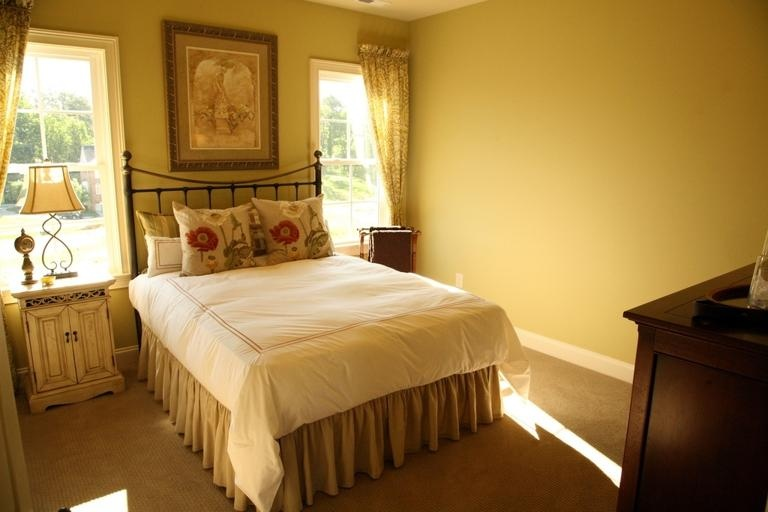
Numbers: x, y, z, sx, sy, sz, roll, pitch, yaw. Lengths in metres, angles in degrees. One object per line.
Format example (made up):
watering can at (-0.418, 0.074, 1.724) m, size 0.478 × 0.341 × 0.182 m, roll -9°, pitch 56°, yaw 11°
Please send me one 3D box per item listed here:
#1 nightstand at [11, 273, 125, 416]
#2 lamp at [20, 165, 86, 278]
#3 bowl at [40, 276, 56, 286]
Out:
nightstand at (-2.377, 0.711, 4.210) m, size 0.618 × 0.921 × 0.455 m, roll -9°, pitch -16°, yaw -28°
lamp at (-2.540, -0.264, 4.209) m, size 0.393 × 0.875 × 0.546 m, roll -8°, pitch 14°, yaw -33°
bowl at (-2.499, 0.184, 4.080) m, size 0.093 × 0.059 × 0.073 m, roll 2°, pitch 6°, yaw 26°
